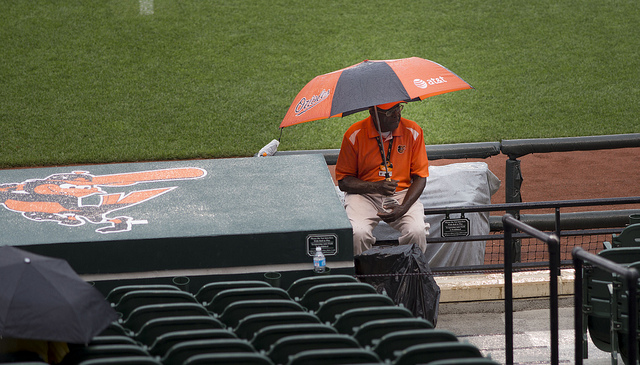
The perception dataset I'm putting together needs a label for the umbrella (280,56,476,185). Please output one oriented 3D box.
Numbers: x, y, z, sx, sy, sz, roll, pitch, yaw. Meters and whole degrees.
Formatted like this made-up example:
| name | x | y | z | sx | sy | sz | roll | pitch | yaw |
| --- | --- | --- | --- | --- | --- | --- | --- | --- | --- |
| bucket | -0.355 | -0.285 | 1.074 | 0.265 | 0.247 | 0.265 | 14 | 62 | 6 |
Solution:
| name | x | y | z | sx | sy | sz | roll | pitch | yaw |
| --- | --- | --- | --- | --- | --- | --- | --- | --- | --- |
| umbrella | 1.363 | -1.891 | 31.119 | 4.361 | 2.226 | 3.612 | -19 | 8 | -5 |
